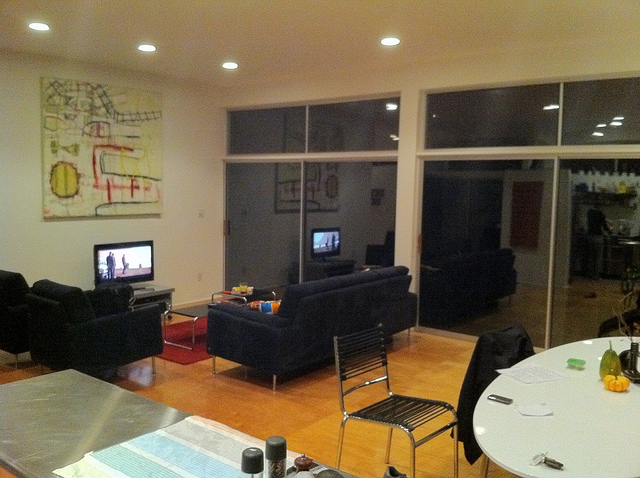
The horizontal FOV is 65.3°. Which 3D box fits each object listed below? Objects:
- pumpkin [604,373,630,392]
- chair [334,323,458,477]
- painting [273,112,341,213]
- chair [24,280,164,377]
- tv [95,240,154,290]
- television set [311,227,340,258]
[{"bbox_3d":[1.690,0.810,2.822,0.098,0.066,0.094,-3,3,11],"label":"pumpkin"},{"bbox_3d":[0.561,1.086,3.861,0.832,1.010,1.943,1,7,6],"label":"chair"},{"bbox_3d":[-0.147,-1.173,7.488,1.586,1.995,0.108,4,7,31],"label":"painting"},{"bbox_3d":[-2.272,0.905,5.044,1.108,0.939,1.007,-4,5,-43],"label":"chair"},{"bbox_3d":[-2.666,0.385,6.877,0.270,0.654,0.990,7,7,27],"label":"tv"},{"bbox_3d":[0.037,0.030,7.531,0.501,0.436,0.259,-6,12,-30],"label":"television set"}]
